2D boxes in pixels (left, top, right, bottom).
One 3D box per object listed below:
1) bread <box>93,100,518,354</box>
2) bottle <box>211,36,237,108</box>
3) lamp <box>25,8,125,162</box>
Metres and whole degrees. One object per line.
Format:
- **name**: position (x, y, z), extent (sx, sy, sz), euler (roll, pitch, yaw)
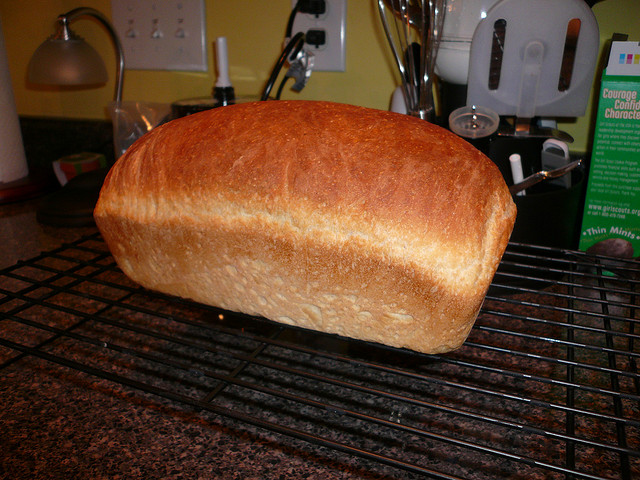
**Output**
- **bread**: position (-0.007, -0.022, 0.802), extent (0.514, 0.236, 0.292), euler (9, 29, 16)
- **bottle**: position (-0.209, -0.382, 1.245), extent (0.053, 0.135, 0.170), euler (-3, 24, -9)
- **lamp**: position (-0.520, -0.399, 1.211), extent (0.212, 0.195, 0.123), euler (-11, 26, -25)
